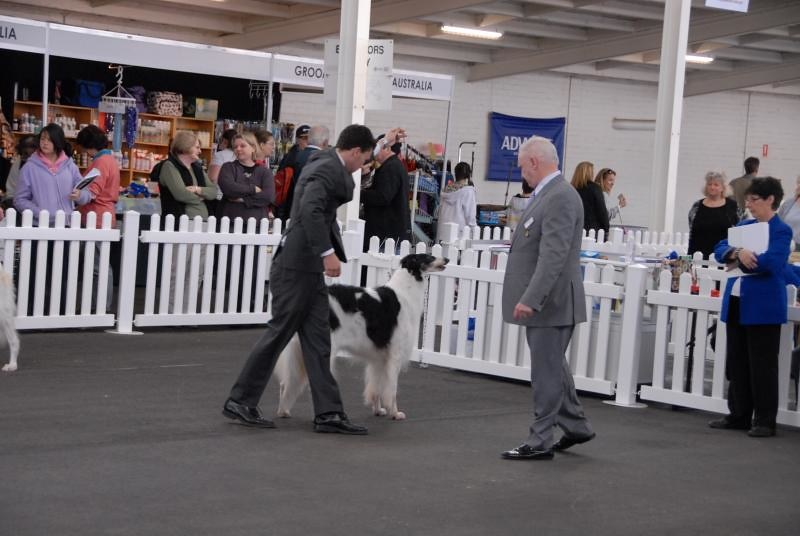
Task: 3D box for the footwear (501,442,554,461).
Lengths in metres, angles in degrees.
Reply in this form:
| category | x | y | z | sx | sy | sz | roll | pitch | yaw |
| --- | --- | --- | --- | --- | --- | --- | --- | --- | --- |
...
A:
| category | x | y | z | sx | sy | sz | roll | pitch | yaw |
| --- | --- | --- | --- | --- | --- | --- | --- | --- | --- |
| footwear | 1.021 | 1.481 | 6.696 | 0.427 | 0.158 | 0.154 | 4 | -3 | -3 |

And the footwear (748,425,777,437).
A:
| category | x | y | z | sx | sy | sz | roll | pitch | yaw |
| --- | --- | --- | --- | --- | --- | --- | --- | --- | --- |
| footwear | 3.272 | 1.471 | 7.498 | 0.246 | 0.112 | 0.097 | 5 | -1 | -12 |

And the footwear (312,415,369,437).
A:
| category | x | y | z | sx | sy | sz | roll | pitch | yaw |
| --- | --- | --- | --- | --- | --- | --- | --- | --- | --- |
| footwear | -0.501 | 1.324 | 7.030 | 0.475 | 0.213 | 0.182 | 1 | -1 | -8 |

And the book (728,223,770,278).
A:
| category | x | y | z | sx | sy | sz | roll | pitch | yaw |
| --- | --- | --- | --- | --- | --- | --- | --- | --- | --- |
| book | 3.173 | -0.191 | 7.521 | 0.262 | 0.517 | 0.287 | -13 | -2 | 5 |

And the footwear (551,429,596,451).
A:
| category | x | y | z | sx | sy | sz | roll | pitch | yaw |
| --- | --- | --- | --- | --- | --- | --- | --- | --- | --- |
| footwear | 1.439 | 1.419 | 6.826 | 0.300 | 0.140 | 0.105 | -21 | 10 | 23 |
